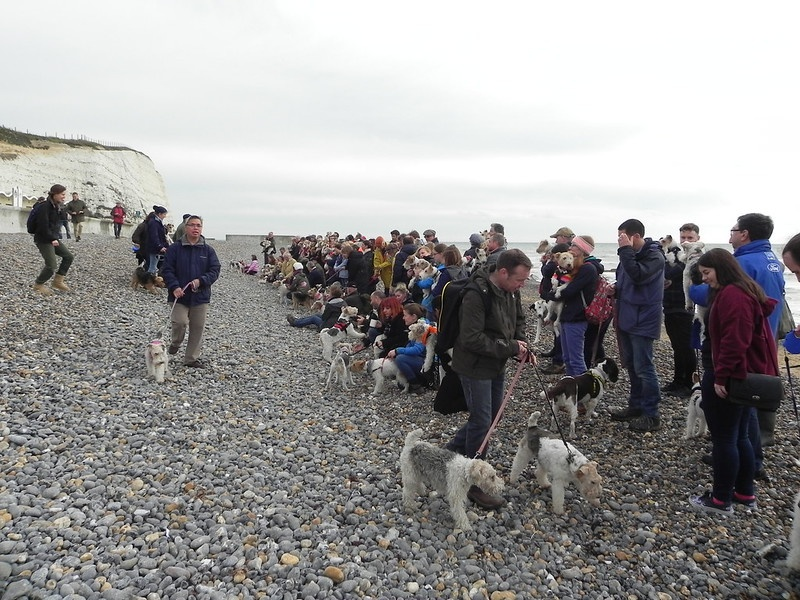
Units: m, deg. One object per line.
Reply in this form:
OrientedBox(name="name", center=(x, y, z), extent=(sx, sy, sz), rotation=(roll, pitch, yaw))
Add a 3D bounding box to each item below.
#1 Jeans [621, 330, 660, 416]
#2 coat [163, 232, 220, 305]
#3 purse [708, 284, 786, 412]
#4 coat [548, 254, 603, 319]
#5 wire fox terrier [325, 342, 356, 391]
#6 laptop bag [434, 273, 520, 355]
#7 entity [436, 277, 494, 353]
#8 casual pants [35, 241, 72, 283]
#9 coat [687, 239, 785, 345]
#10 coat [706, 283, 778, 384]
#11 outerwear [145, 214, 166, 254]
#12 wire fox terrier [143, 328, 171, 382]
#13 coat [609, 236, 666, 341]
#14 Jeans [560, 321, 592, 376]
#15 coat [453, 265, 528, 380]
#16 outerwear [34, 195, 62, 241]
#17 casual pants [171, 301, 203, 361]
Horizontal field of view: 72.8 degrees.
OrientedBox(name="Jeans", center=(3.344, 0.939, 7.579), extent=(0.372, 1.339, 0.581), rotation=(-1, 3, -4))
OrientedBox(name="coat", center=(-3.592, -0.496, 9.320), extent=(0.906, 1.145, 0.529), rotation=(-2, 10, -24))
OrientedBox(name="purse", center=(3.539, 0.443, 5.544), extent=(0.664, 1.153, 0.561), rotation=(5, 10, 18))
OrientedBox(name="coat", center=(2.720, -0.159, 8.176), extent=(0.663, 0.953, 0.454), rotation=(-6, 12, -42))
OrientedBox(name="wire fox terrier", center=(-1.021, 1.170, 9.703), extent=(0.351, 0.764, 0.987), rotation=(3, 4, 5))
OrientedBox(name="laptop bag", center=(0.818, 0.113, 5.990), extent=(0.816, 0.898, 0.565), rotation=(5, 7, 4))
OrientedBox(name="entity", center=(0.760, 0.162, 6.136), extent=(0.549, 0.805, 0.617), rotation=(-7, -11, 21))
OrientedBox(name="casual pants", center=(-8.460, -0.898, 13.234), extent=(0.534, 0.424, 1.230), rotation=(8, -25, -25))
OrientedBox(name="coat", center=(3.777, -0.068, 6.052), extent=(1.035, 1.111, 0.749), rotation=(-22, 26, -35))
OrientedBox(name="coat", center=(3.673, 0.306, 5.828), extent=(0.607, 0.980, 1.063), rotation=(-3, 7, 40))
OrientedBox(name="outerwear", center=(-6.518, -1.798, 14.427), extent=(0.555, 1.017, 0.956), rotation=(3, 4, -23))
OrientedBox(name="wire fox terrier", center=(-3.833, 0.930, 8.561), extent=(0.301, 0.465, 1.043), rotation=(-1, 11, -14))
OrientedBox(name="coat", center=(3.317, -0.137, 7.556), extent=(0.650, 1.322, 0.854), rotation=(2, 4, 6))
OrientedBox(name="Jeans", center=(2.653, 0.707, 8.217), extent=(0.313, 1.071, 0.425), rotation=(-6, 23, 7))
OrientedBox(name="coat", center=(1.056, 0.317, 6.142), extent=(0.919, 1.157, 0.765), rotation=(-2, 14, -44))
OrientedBox(name="outerwear", center=(-7.876, -1.813, 12.156), extent=(0.582, 0.985, 0.686), rotation=(6, 10, -8))
OrientedBox(name="casual pants", center=(-3.740, 0.554, 9.541), extent=(0.604, 1.134, 0.555), rotation=(-2, 10, -24))
